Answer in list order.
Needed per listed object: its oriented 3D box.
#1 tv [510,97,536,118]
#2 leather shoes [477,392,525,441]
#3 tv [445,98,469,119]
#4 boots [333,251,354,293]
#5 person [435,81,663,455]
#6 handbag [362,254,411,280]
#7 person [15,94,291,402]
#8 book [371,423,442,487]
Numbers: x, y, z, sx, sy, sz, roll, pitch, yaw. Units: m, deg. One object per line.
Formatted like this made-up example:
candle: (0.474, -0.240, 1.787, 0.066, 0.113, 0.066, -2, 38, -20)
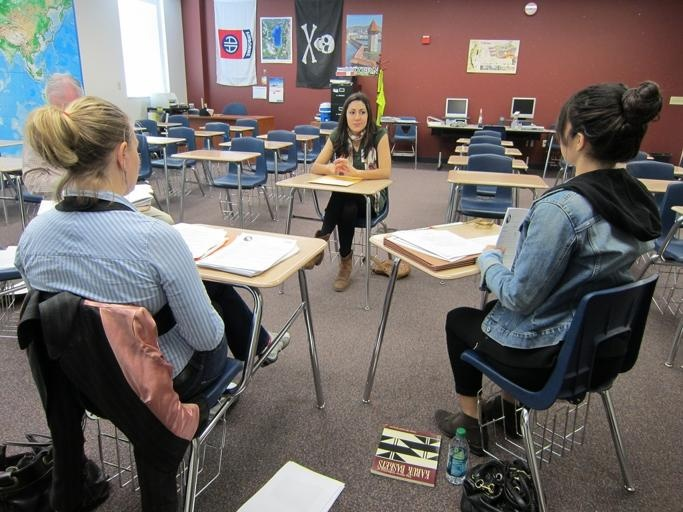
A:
tv: (3.113, -2.574, 8.452, 0.441, 0.489, 0.149, 4, 15, 18)
leather shoes: (0.731, 0.718, 2.333, 0.111, 0.152, 0.346, -5, 11, -12)
tv: (2.053, -2.616, 8.875, 0.426, 0.473, 0.355, 4, 12, 15)
boots: (0.007, 0.111, 3.656, 0.100, 0.223, 0.311, 3, 23, 12)
person: (0.747, 0.166, 1.834, 0.699, 1.547, 0.358, 5, 21, 13)
handbag: (0.371, 0.069, 3.868, 0.258, 0.119, 0.163, 7, 24, 23)
person: (-0.638, 0.059, 2.002, 0.641, 1.358, 1.039, 4, 21, 16)
book: (0.288, 0.882, 2.165, 0.276, 0.054, 0.265, 6, 23, 15)
